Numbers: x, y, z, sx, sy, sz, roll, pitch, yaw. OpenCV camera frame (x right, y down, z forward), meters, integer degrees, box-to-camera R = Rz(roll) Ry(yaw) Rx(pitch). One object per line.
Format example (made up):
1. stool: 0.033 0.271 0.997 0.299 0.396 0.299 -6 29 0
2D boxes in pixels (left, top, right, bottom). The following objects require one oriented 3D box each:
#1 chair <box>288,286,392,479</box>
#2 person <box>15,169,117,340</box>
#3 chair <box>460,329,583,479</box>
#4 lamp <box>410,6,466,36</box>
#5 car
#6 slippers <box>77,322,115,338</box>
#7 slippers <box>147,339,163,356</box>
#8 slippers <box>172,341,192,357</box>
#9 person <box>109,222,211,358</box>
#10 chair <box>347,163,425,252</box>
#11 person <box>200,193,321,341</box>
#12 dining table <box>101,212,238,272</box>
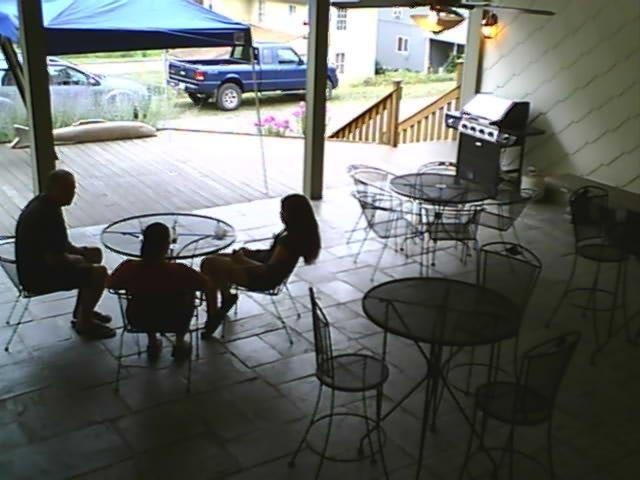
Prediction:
1. chair: 0.152 1.110 4.033 0.768 1.382 0.649 -4 30 -5
2. person: -2.218 0.148 4.696 0.856 1.403 0.691 -3 18 -34
3. chair: 1.320 1.042 3.566 0.584 1.066 0.716 9 23 22
4. lamp: 1.051 -1.954 4.799 0.337 0.168 0.335 -25 41 -31
5. car: -4.827 -2.959 10.921 2.996 1.286 1.430 -16 32 -24
6. slippers: -2.004 0.812 4.789 0.289 0.081 0.143 4 29 -4
7. slippers: -1.402 0.864 4.558 0.108 0.126 0.186 -1 15 -9
8. slippers: -1.172 0.929 4.579 0.141 0.100 0.138 22 27 19
9. person: -1.266 0.450 4.334 0.803 1.214 0.675 3 14 -3
10. chair: 0.799 -0.361 6.672 0.807 1.028 0.809 -9 45 -1
11. person: -0.544 0.203 4.756 0.990 1.381 0.521 17 13 -1
12. dining table: -1.386 -0.037 4.909 0.753 0.185 0.710 -6 26 -22
